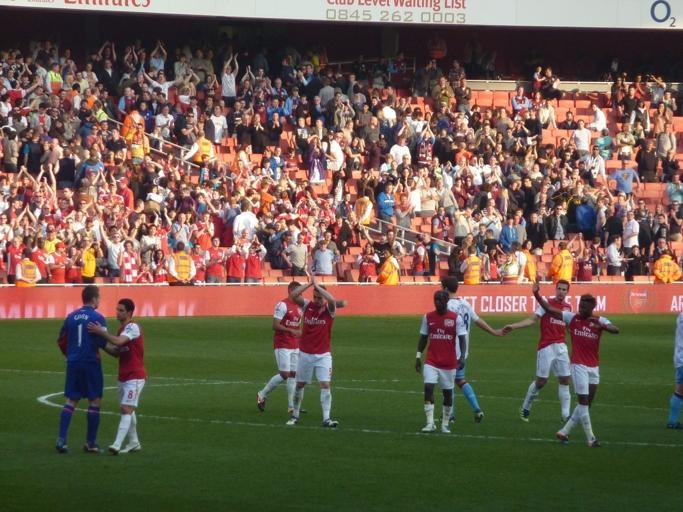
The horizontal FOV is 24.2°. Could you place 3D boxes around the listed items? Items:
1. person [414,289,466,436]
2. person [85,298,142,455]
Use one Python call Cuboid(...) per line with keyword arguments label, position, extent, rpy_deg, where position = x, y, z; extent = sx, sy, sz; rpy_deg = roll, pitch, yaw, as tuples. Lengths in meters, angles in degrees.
Cuboid(label="person", position=(2.347, 2.508, 38.658), extent=(1.268, 3.371, 1.138), rpy_deg=(2, 8, -10))
Cuboid(label="person", position=(-5.030, 2.724, 37.078), extent=(1.205, 3.632, 1.058), rpy_deg=(-4, 10, -42))
